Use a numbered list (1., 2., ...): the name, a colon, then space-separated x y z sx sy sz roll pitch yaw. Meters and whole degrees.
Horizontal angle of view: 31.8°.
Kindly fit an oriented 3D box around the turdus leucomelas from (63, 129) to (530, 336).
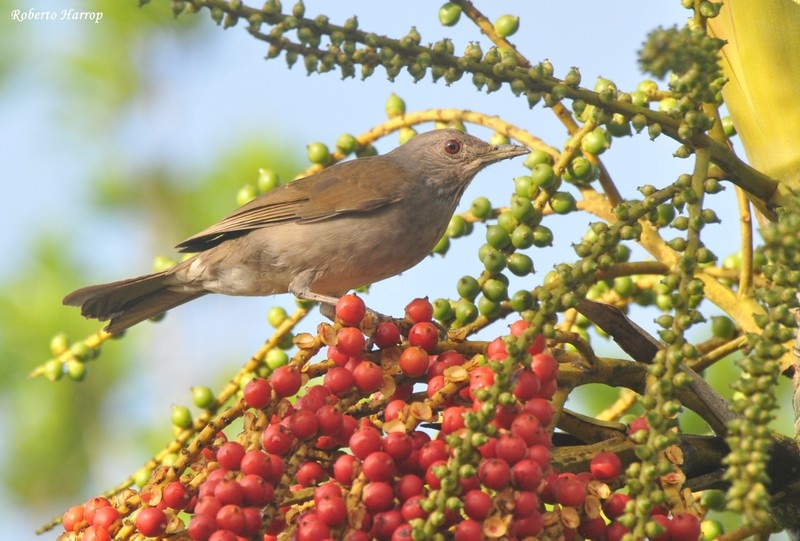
1. turdus leucomelas: -0.541 -0.185 7.446 2.396 1.017 0.680 -3 -17 11
